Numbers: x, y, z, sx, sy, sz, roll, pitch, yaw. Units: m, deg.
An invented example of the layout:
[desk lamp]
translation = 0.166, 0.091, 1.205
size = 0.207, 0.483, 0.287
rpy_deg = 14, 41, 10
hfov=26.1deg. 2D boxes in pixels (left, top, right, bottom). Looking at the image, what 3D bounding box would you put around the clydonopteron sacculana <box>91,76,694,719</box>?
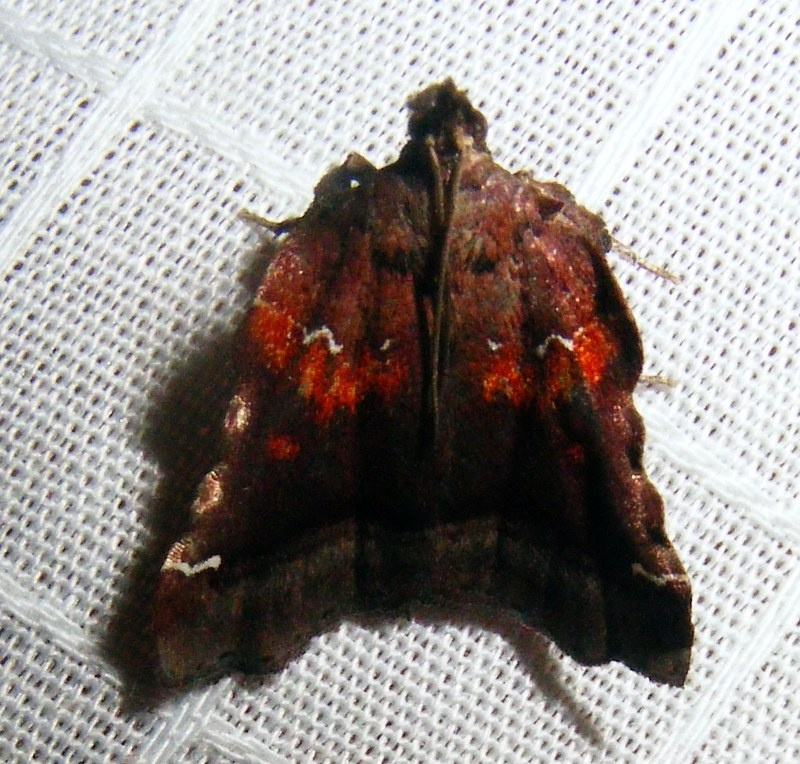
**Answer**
[clydonopteron sacculana]
translation = -0.008, 0.069, 2.427
size = 0.625, 0.893, 0.220
rpy_deg = 1, 5, 3
